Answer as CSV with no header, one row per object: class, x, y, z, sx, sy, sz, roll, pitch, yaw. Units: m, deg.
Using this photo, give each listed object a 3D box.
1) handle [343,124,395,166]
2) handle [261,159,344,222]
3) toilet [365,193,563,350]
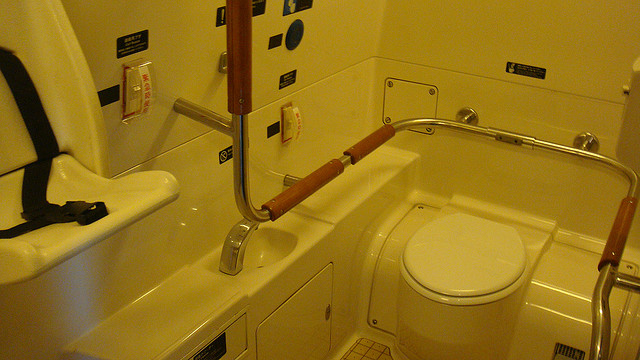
handle,0.290,-0.177,2.409,0.420,0.108,0.105,-30,14,-32
handle,-0.063,0.036,2.114,0.422,0.090,0.084,-34,41,-31
toilet,0.814,0.533,2.603,0.651,0.550,0.934,19,34,35
